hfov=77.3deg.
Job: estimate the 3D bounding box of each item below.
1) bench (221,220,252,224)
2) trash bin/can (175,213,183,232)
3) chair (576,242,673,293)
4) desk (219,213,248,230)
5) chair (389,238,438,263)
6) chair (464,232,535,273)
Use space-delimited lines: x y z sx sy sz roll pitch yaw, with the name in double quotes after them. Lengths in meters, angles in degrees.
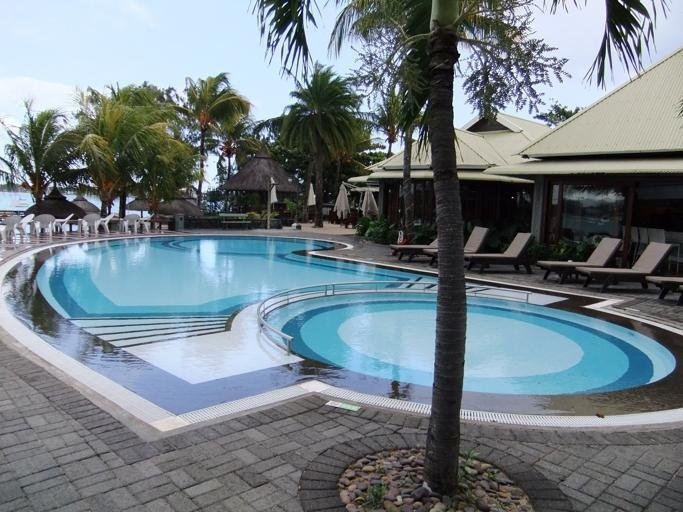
-7.203 -2.174 29.260 1.898 0.273 0.599 -1 5 -37 "bench"
-10.044 -1.972 26.359 0.462 0.983 0.353 -1 5 -30 "trash bin/can"
7.708 0.296 11.531 2.256 1.157 1.253 1 4 1 "chair"
-7.814 -2.388 30.814 1.737 0.977 1.008 0 4 -18 "desk"
2.846 -0.172 16.015 1.980 0.695 1.046 1 0 -16 "chair"
5.137 -0.065 13.872 2.068 1.106 1.213 0 4 -2 "chair"
